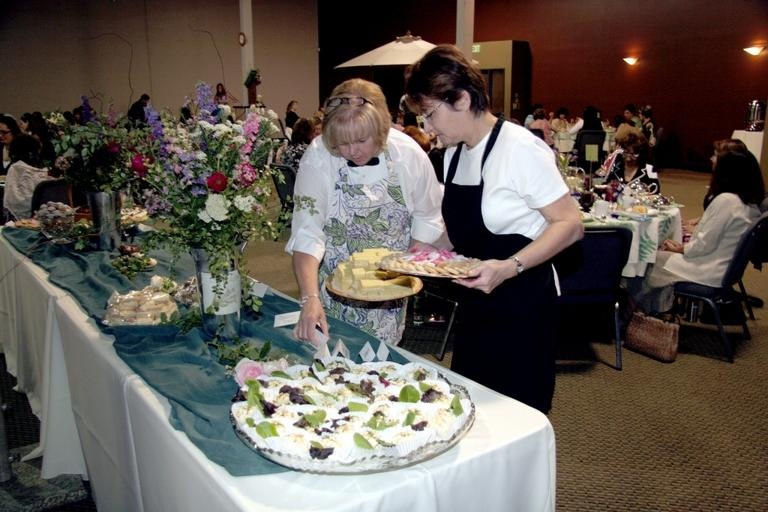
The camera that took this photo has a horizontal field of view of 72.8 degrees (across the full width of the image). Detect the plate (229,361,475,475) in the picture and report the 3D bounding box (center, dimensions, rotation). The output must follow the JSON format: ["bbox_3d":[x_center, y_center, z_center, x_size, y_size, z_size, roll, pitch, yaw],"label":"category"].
[{"bbox_3d":[-0.097,0.457,1.527,0.412,0.088,0.372,4,12,23],"label":"plate"}]

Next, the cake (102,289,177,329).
[{"bbox_3d":[-1.088,0.232,2.295,0.181,0.044,0.186,10,12,29],"label":"cake"}]

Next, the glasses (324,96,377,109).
[{"bbox_3d":[-0.160,-0.656,2.233,0.219,0.052,0.085,3,13,10],"label":"glasses"}]

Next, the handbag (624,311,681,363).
[{"bbox_3d":[2.119,0.655,4.140,0.125,0.291,0.341,2,8,-34],"label":"handbag"}]

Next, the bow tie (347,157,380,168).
[{"bbox_3d":[-0.098,-0.428,2.380,0.153,0.042,0.069,0,13,-3],"label":"bow tie"}]

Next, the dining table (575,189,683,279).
[{"bbox_3d":[2.136,-0.208,4.364,0.857,0.455,0.746,-8,16,-30],"label":"dining table"}]

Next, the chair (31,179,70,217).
[{"bbox_3d":[-2.634,-0.486,4.100,0.268,0.241,0.389,-8,16,-33],"label":"chair"}]

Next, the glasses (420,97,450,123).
[{"bbox_3d":[0.172,-0.519,1.871,0.020,0.066,0.067,40,14,35],"label":"glasses"}]

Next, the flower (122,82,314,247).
[{"bbox_3d":[-0.697,-0.395,2.158,0.570,0.614,0.580,20,35,40],"label":"flower"}]

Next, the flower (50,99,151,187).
[{"bbox_3d":[-1.418,-0.628,2.863,0.456,0.474,0.482,-5,10,30],"label":"flower"}]

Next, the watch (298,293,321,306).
[{"bbox_3d":[-0.302,0.168,2.061,0.063,0.033,0.055,-4,-9,-24],"label":"watch"}]
